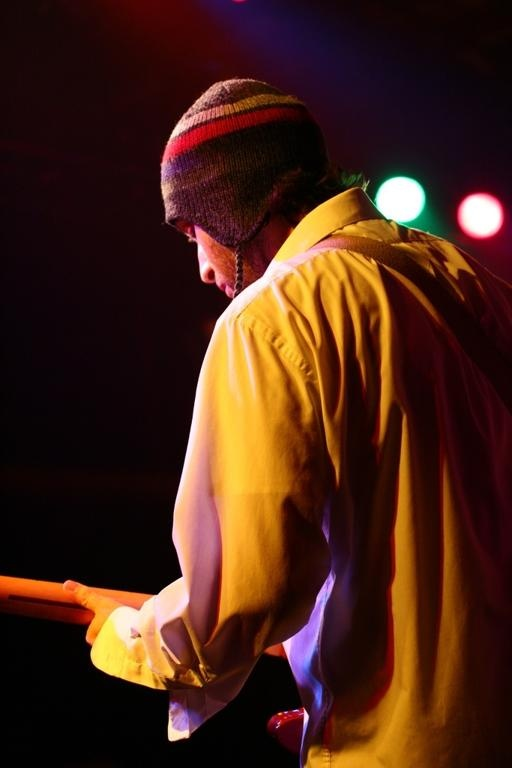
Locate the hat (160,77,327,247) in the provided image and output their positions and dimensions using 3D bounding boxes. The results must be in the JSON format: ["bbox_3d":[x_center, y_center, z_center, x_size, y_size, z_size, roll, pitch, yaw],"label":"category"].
[{"bbox_3d":[-0.024,-0.296,1.333,0.225,0.252,0.180,-21,2,12],"label":"hat"}]
